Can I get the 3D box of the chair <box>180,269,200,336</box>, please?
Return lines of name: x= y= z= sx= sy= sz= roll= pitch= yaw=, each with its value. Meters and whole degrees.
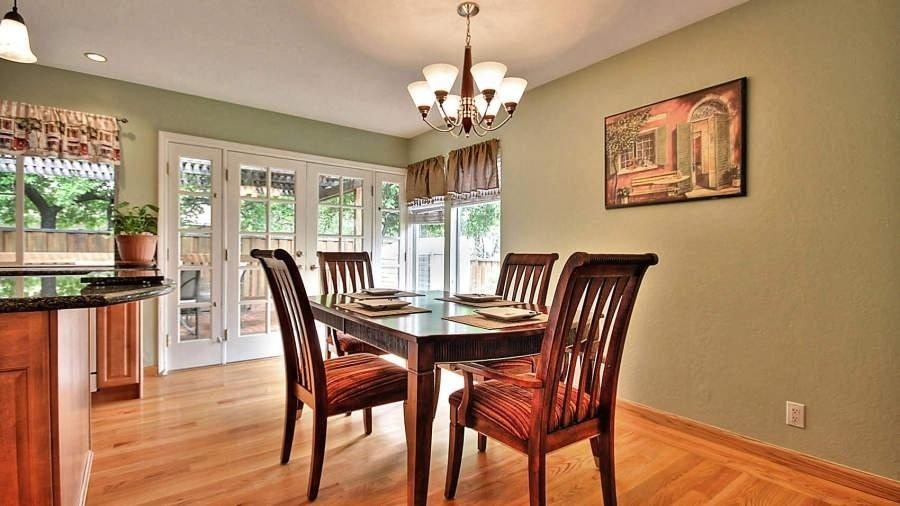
chair: x=-2.813 y=0.551 z=5.939 sx=0.200 sy=0.747 sz=0.102 roll=0 pitch=4 yaw=-16

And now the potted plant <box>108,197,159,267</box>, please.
potted plant: x=-2.745 y=-0.175 z=4.738 sx=0.372 sy=0.444 sz=0.361 roll=-7 pitch=9 yaw=-29

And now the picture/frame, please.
picture/frame: x=2.025 y=-0.962 z=4.794 sx=1.441 sy=1.005 sz=0.162 roll=-2 pitch=-2 yaw=36
